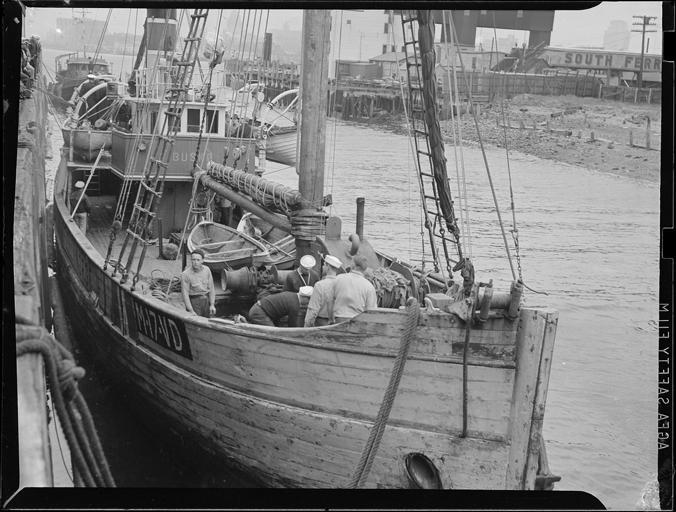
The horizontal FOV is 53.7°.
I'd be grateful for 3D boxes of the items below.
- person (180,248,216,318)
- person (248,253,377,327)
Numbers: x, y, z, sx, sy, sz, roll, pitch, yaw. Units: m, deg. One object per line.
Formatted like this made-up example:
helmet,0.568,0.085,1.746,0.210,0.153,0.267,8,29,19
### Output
person,-1.594,0.538,7.610,0.358,1.180,0.325,-19,37,-37
person,-0.185,0.389,6.437,1.115,0.478,0.670,-7,0,41
